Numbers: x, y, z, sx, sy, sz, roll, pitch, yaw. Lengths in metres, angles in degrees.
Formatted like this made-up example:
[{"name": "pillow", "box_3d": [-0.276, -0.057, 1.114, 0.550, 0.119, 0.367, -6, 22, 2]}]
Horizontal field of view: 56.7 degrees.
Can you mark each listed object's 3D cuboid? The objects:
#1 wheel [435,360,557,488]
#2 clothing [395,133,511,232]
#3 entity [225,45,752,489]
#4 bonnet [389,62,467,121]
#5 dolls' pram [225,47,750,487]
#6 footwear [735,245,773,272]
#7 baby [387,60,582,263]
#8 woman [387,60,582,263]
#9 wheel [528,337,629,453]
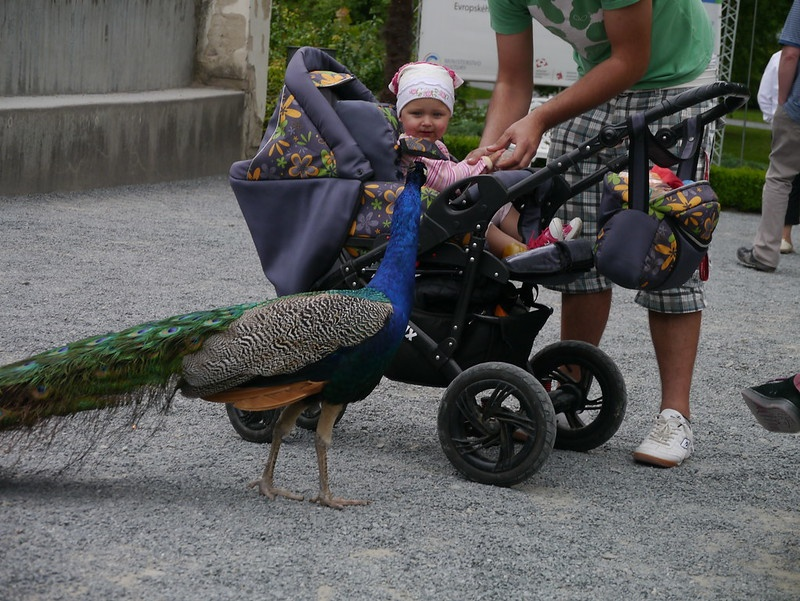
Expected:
[{"name": "wheel", "box_3d": [0.392, 0.533, 3.117, 0.446, 0.500, 0.166, 7, 10, 22]}, {"name": "clothing", "box_3d": [0.291, -0.626, 3.598, 0.518, 0.561, 0.396, -4, 26, 11]}, {"name": "entity", "box_3d": [0.324, -0.198, 3.614, 2.307, 1.906, 1.096, 6, 6, 16]}, {"name": "bonnet", "box_3d": [0.138, -1.126, 3.942, 0.367, 0.296, 0.402, -9, 16, -27]}, {"name": "dolls' pram", "box_3d": [0.359, -0.210, 3.556, 2.462, 1.917, 1.115, 5, 5, 24]}, {"name": "footwear", "box_3d": [3.599, -0.421, 7.481, 0.133, 0.170, 0.362, -15, 31, -31]}, {"name": "baby", "box_3d": [0.370, -0.720, 3.695, 1.053, 1.085, 0.465, -6, -5, 40]}, {"name": "woman", "box_3d": [0.361, -0.719, 3.722, 0.993, 1.041, 0.433, -2, 0, 37]}, {"name": "wheel", "box_3d": [0.830, 0.462, 3.464, 0.481, 0.513, 0.204, 9, 9, 37]}]
